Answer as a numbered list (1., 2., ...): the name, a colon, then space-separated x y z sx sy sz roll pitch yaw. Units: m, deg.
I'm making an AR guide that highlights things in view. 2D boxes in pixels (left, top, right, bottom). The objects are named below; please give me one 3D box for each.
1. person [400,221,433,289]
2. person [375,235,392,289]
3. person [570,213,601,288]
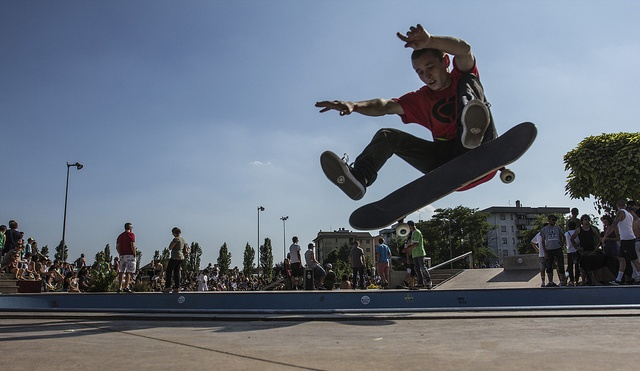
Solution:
1. person: 2.879 2.063 16.790 0.925 1.977 0.902 0 -12 -7
2. person: 2.169 2.748 19.636 0.470 1.651 1.009 -1 0 6
3. person: 7.681 1.845 16.353 0.748 1.643 1.219 -1 0 34
